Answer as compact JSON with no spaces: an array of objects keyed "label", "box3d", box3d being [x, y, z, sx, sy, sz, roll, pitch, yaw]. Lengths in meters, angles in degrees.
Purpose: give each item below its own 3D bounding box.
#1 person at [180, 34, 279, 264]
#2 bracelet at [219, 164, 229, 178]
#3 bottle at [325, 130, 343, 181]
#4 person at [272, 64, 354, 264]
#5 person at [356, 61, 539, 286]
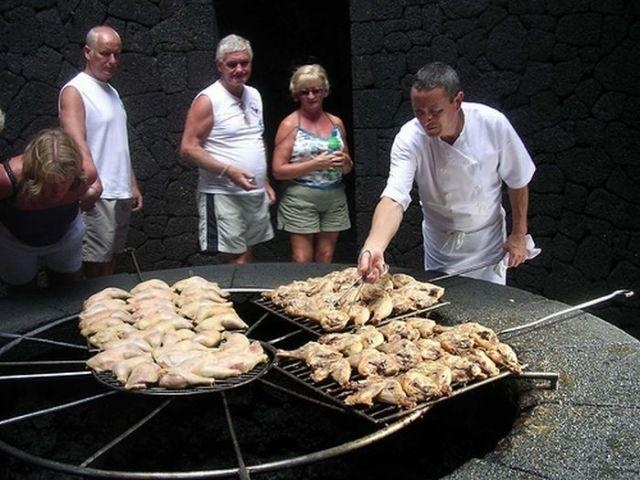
[{"label":"person","box3d":[-0.822,-0.741,4.767,0.690,2.210,0.801,14,30,22]},{"label":"bracelet","box3d":[-0.857,-0.618,4.540,0.098,0.043,0.106,-29,61,8]},{"label":"bottle","box3d":[0.146,-0.829,5.085,0.153,0.556,0.337,5,27,6]},{"label":"person","box3d":[-0.066,-0.680,5.149,0.810,2.069,0.572,-8,29,-18]},{"label":"person","box3d":[0.920,-0.360,3.616,1.332,1.736,0.857,-4,28,-12]}]
